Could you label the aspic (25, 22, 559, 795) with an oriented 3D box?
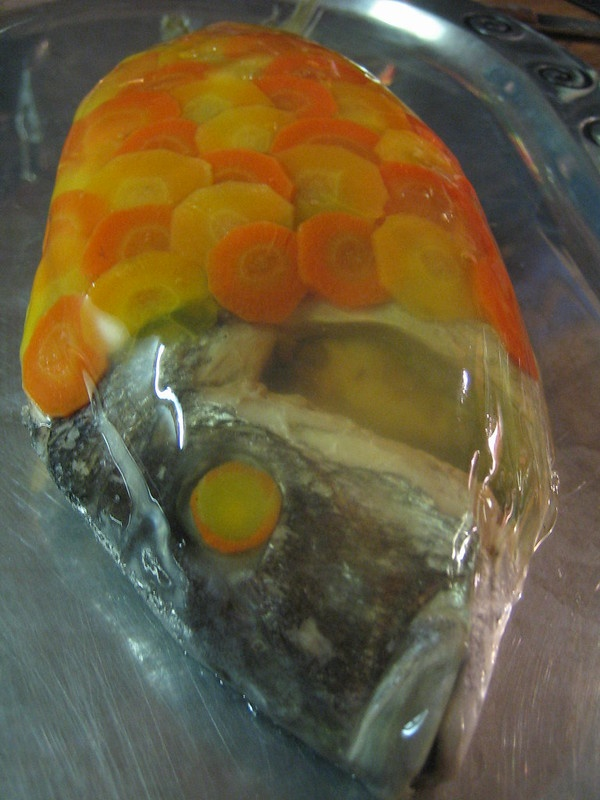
[{"bbox_3d":[-0.006,-0.042,0.541,0.320,0.175,0.509,-24,59,-31],"label":"aspic"}]
